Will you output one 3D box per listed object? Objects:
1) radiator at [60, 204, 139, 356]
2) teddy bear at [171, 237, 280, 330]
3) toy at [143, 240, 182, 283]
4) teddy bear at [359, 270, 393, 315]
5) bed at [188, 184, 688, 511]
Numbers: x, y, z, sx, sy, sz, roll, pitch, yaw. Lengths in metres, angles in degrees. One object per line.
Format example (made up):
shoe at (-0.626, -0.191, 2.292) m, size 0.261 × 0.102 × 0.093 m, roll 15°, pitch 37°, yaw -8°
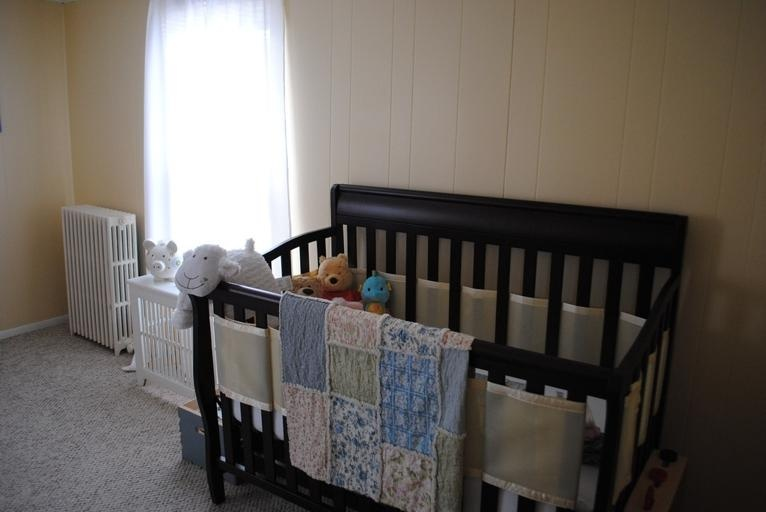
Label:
radiator at (-1.857, 0.159, 4.002) m, size 0.731 × 0.978 × 0.277 m, roll 16°, pitch 23°, yaw 37°
teddy bear at (-0.726, 0.108, 2.808) m, size 0.349 × 0.378 × 0.472 m, roll 6°, pitch 12°, yaw 41°
toy at (-1.290, 0.032, 3.553) m, size 0.203 × 0.270 × 0.260 m, roll -4°, pitch 4°, yaw 12°
teddy bear at (-0.036, 0.213, 3.111) m, size 0.154 × 0.271 × 0.136 m, roll -2°, pitch 3°, yaw -9°
bed at (0.248, 0.490, 2.709) m, size 1.858 × 1.428 × 1.064 m, roll 9°, pitch 16°, yaw 28°
